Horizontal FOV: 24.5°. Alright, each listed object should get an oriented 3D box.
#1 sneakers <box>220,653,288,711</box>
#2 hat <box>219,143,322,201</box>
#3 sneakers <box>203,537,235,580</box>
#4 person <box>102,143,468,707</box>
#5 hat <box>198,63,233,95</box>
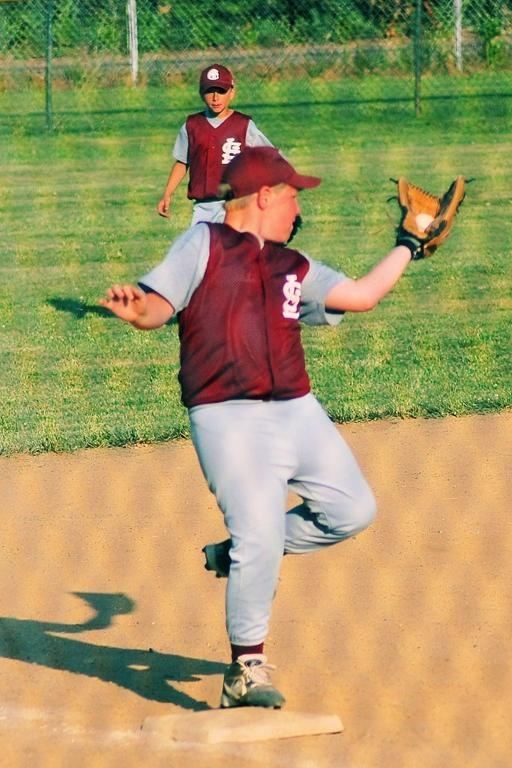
[{"bbox_3d":[-0.005,0.910,3.513,0.184,0.182,0.115,19,18,26],"label":"sneakers"},{"bbox_3d":[0.040,-0.632,3.521,0.251,0.121,0.158,-14,15,-4],"label":"hat"},{"bbox_3d":[-0.114,0.566,3.776,0.101,0.139,0.042,5,20,14],"label":"sneakers"},{"bbox_3d":[0.014,0.166,3.508,1.129,1.620,0.357,-1,8,-39],"label":"person"},{"bbox_3d":[-0.221,-1.765,6.816,0.185,0.193,0.230,3,6,-5],"label":"hat"}]
